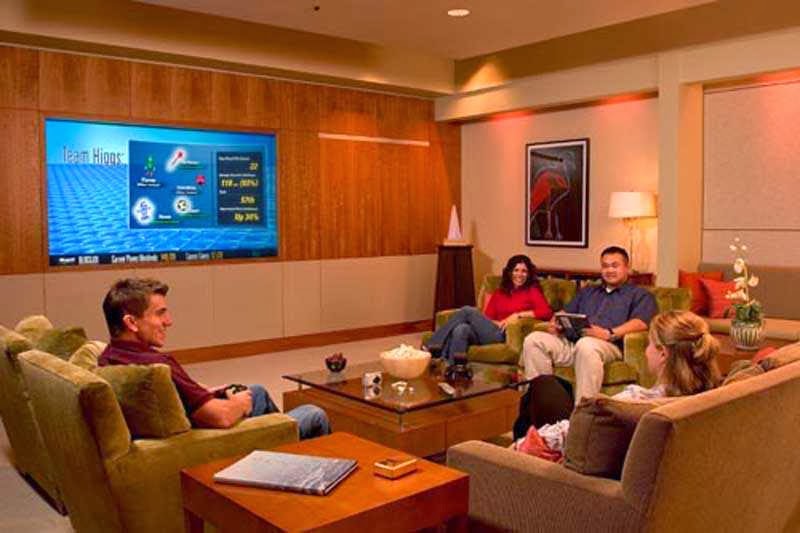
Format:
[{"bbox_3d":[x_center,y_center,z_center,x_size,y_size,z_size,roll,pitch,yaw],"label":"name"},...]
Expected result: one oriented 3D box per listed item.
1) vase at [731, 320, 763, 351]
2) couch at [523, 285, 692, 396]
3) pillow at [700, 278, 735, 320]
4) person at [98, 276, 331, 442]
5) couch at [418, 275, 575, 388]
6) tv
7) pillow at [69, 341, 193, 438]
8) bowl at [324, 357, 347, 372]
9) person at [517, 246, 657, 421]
[{"bbox_3d":[2.896,0.572,4.895,0.233,0.201,0.235,0,0,16],"label":"vase"},{"bbox_3d":[1.743,0.662,5.567,1.259,1.395,1.074,9,-8,-29],"label":"couch"},{"bbox_3d":[3.385,0.357,6.205,0.380,0.422,0.164,-2,-25,28],"label":"pillow"},{"bbox_3d":[-1.102,0.697,3.651,0.765,1.058,1.543,-2,-8,42],"label":"person"},{"bbox_3d":[1.002,0.610,6.056,1.053,1.133,1.170,-3,-4,42],"label":"couch"},{"bbox_3d":[-2.884,-0.873,6.758,1.898,1.074,0.070,-2,3,-34],"label":"tv"},{"bbox_3d":[-1.296,0.656,2.951,0.516,0.501,0.199,-1,23,24],"label":"pillow"},{"bbox_3d":[-0.557,0.809,4.930,0.147,0.102,0.144,-1,-5,0],"label":"bowl"},{"bbox_3d":[1.741,0.663,5.395,1.106,1.720,0.863,4,2,-37],"label":"person"}]
